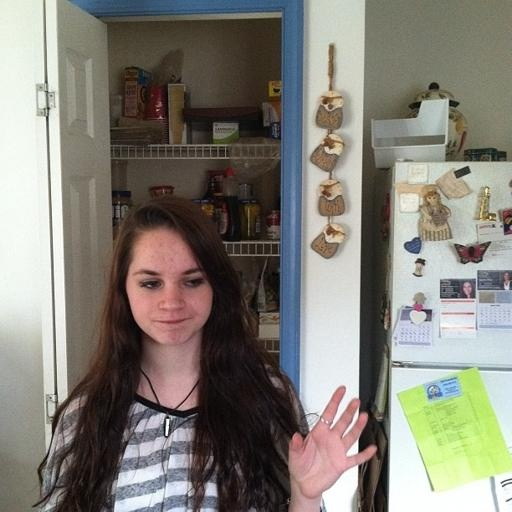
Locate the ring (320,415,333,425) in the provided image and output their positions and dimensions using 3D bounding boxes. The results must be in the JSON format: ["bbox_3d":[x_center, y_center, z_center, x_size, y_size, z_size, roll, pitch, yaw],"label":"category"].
[{"bbox_3d":[0.141,0.327,1.079,0.020,0.023,0.009,17,33,33],"label":"ring"}]
